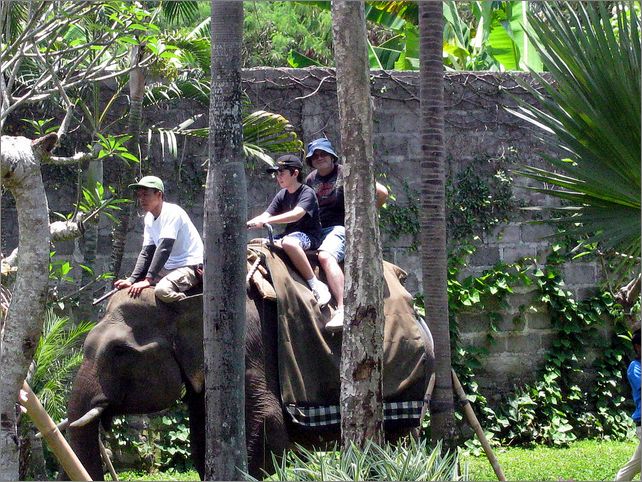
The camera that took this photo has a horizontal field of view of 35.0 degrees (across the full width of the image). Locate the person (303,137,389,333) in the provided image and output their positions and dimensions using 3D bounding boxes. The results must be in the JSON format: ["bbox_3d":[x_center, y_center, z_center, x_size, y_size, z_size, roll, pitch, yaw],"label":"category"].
[{"bbox_3d":[0.024,-0.095,9.892,0.925,1.954,1.017,-7,-5,38],"label":"person"}]

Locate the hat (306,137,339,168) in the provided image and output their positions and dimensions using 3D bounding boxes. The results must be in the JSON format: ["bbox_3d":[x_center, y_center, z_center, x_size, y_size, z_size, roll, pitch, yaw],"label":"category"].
[{"bbox_3d":[-0.008,-0.915,10.097,0.217,0.194,0.322,-8,-18,6],"label":"hat"}]

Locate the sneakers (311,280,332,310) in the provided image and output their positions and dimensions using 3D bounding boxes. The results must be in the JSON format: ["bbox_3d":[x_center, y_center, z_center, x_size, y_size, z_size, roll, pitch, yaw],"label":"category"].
[{"bbox_3d":[-0.011,0.492,9.644,0.114,0.272,0.135,12,-46,-41],"label":"sneakers"}]

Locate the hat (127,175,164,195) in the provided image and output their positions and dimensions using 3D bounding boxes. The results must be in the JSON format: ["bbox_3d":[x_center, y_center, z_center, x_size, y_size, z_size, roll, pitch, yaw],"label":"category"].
[{"bbox_3d":[-1.653,-0.551,9.723,0.257,0.136,0.186,8,-12,-34],"label":"hat"}]

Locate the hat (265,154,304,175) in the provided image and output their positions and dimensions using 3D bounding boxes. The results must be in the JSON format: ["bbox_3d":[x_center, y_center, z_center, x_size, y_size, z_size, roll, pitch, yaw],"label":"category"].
[{"bbox_3d":[-0.357,-0.748,9.932,0.260,0.160,0.182,4,-3,-9],"label":"hat"}]

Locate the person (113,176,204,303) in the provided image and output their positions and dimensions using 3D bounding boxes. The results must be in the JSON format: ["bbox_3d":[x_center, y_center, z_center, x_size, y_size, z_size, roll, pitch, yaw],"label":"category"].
[{"bbox_3d":[-1.570,-0.013,9.705,0.821,1.235,0.756,-1,0,-34],"label":"person"}]

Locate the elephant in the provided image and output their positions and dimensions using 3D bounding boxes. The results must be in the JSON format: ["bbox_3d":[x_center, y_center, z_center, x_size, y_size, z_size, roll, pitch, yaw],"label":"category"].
[{"bbox_3d":[-0.916,1.241,10.346,3.483,2.780,1.804,-2,-8,-10],"label":"elephant"}]
